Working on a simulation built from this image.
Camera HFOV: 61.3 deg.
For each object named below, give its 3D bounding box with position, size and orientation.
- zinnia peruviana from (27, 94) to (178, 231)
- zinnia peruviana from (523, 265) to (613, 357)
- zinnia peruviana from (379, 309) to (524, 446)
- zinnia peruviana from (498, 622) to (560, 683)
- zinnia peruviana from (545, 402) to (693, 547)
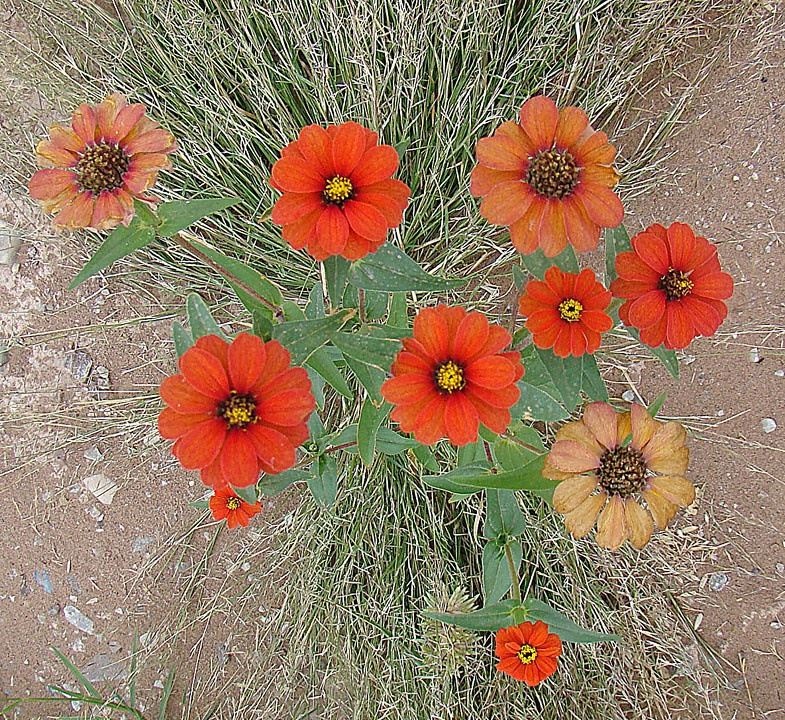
[{"bbox_3d":[-0.854,-0.576,2.056,0.401,0.138,0.442,25,88,8],"label":"zinnia peruviana"},{"bbox_3d":[0.532,-0.160,1.996,0.247,0.281,0.085,8,61,18],"label":"zinnia peruviana"},{"bbox_3d":[0.161,0.054,1.822,0.331,0.108,0.382,-23,52,-6],"label":"zinnia peruviana"},{"bbox_3d":[0.419,0.908,2.061,0.193,0.083,0.186,-4,83,3],"label":"zinnia peruviana"},{"bbox_3d":[0.699,0.384,1.967,0.460,0.534,0.169,-26,95,31],"label":"zinnia peruviana"}]
